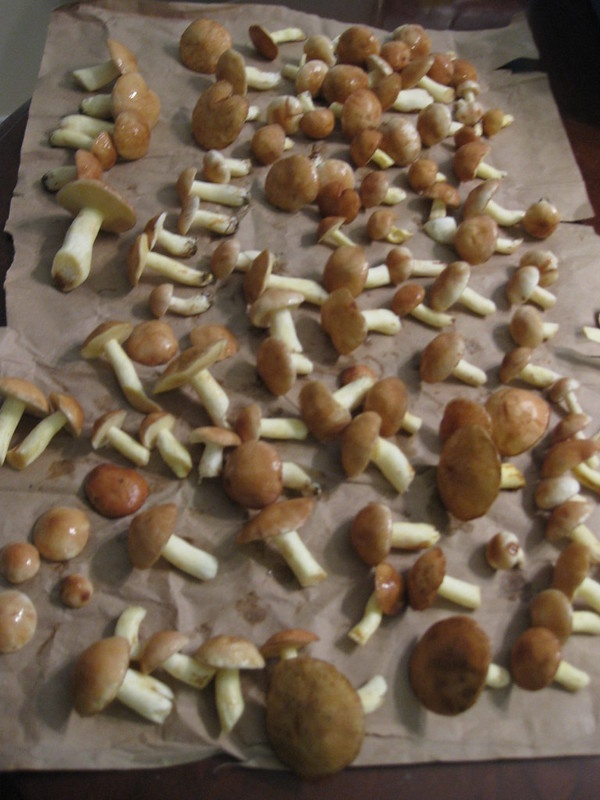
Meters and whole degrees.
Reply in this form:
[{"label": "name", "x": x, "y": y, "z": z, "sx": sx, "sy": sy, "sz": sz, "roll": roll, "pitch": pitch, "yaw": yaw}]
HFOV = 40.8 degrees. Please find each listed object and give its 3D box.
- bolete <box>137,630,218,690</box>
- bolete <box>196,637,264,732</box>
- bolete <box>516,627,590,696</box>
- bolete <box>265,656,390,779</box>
[{"label": "bolete", "x": -0.435, "y": 0.932, "z": 2.873, "sx": 0.255, "sy": 0.225, "sz": 0.119, "roll": 27, "pitch": 49, "yaw": -15}, {"label": "bolete", "x": -0.244, "y": 1.014, "z": 2.880, "sx": 0.275, "sy": 0.271, "sz": 0.319, "roll": -8, "pitch": 68, "yaw": 20}, {"label": "bolete", "x": 0.935, "y": 0.985, "z": 3.020, "sx": 0.204, "sy": 0.181, "sz": 0.168, "roll": 36, "pitch": 4, "yaw": -23}, {"label": "bolete", "x": 0.049, "y": 1.099, "z": 2.803, "sx": 0.327, "sy": 0.224, "sz": 0.363, "roll": 12, "pitch": 46, "yaw": -5}]
